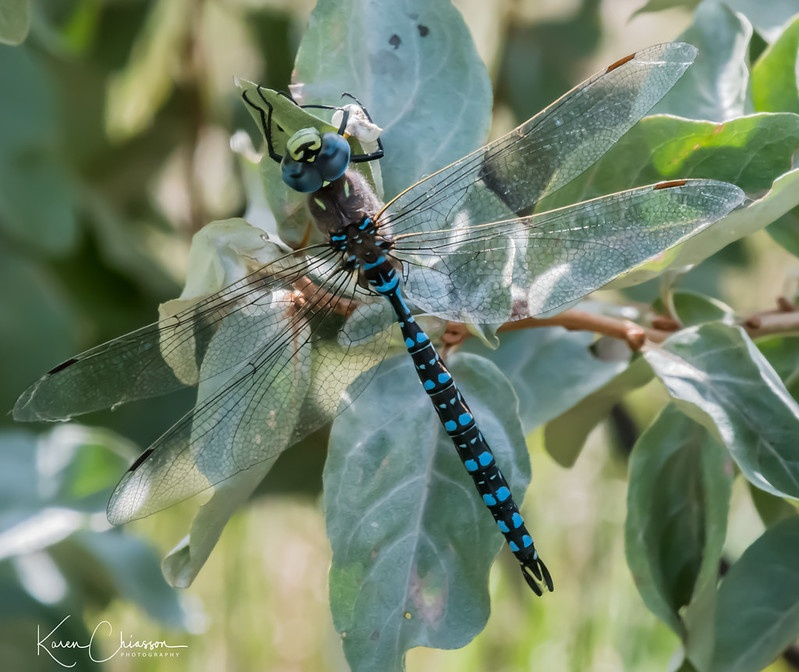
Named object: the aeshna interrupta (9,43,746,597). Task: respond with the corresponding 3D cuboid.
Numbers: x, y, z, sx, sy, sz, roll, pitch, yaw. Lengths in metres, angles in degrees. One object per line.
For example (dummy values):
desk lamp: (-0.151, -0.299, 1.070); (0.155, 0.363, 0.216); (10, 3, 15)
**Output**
aeshna interrupta: (-0.007, -0.050, 1.016); (0.683, 0.545, 0.125); (-21, 1, 7)
